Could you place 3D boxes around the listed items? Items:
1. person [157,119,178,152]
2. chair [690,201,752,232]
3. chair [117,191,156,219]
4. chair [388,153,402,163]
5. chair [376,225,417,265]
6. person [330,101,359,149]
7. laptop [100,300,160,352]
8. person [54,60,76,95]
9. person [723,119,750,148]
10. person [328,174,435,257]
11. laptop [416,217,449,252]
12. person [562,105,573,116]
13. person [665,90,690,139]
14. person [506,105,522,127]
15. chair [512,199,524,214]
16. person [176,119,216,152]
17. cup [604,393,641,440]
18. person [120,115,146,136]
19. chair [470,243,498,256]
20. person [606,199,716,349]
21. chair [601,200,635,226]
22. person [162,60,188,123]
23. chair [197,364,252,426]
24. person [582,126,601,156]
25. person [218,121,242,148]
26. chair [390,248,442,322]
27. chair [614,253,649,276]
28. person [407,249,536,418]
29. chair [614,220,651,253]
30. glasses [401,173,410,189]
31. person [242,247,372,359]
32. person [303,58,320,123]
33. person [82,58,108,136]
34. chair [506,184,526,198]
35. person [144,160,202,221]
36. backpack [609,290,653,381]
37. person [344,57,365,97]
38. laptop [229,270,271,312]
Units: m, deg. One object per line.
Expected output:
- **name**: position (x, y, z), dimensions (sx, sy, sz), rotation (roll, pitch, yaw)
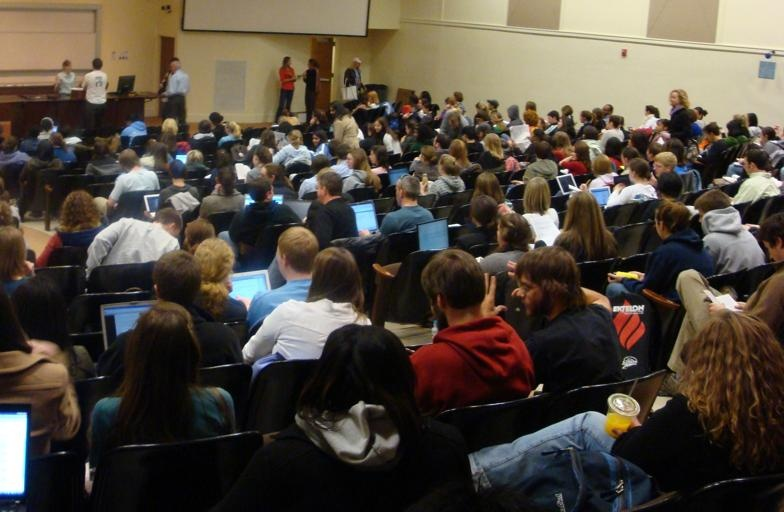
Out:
- **person**: position (-3.490, -1.922, 9.305), dimensions (0.276, 0.277, 0.765), rotation (2, -29, -25)
- **chair**: position (2.797, -0.327, 5.108), dimensions (0.340, 0.368, 0.306), rotation (-15, 0, 30)
- **chair**: position (-3.041, -0.627, 7.127), dimensions (0.328, 0.237, 0.253), rotation (-13, 38, -20)
- **chair**: position (0.056, -1.741, 10.699), dimensions (0.193, 0.249, 0.224), rotation (-1, -6, -17)
- **chair**: position (0.005, -0.127, 5.786), dimensions (0.308, 0.453, 0.352), rotation (-8, 34, -16)
- **person**: position (-0.930, -2.696, 12.270), dimensions (0.566, 0.915, 0.917), rotation (3, 8, -5)
- **laptop**: position (-1.479, 0.459, 3.455), dimensions (0.350, 0.332, 0.302), rotation (2, 19, -29)
- **person**: position (-7.456, -4.053, 13.658), dimensions (0.375, 0.797, 0.380), rotation (-1, 9, -32)
- **person**: position (5.879, -2.110, 10.196), dimensions (0.345, 0.512, 0.921), rotation (8, 9, 29)
- **person**: position (-0.082, -0.384, 5.868), dimensions (0.783, 0.593, 0.773), rotation (-16, 22, -36)
- **laptop**: position (0.371, -0.192, 5.597), dimensions (0.301, 0.239, 0.031), rotation (-13, 16, -42)
- **person**: position (3.739, -3.106, 12.797), dimensions (0.190, 0.288, 0.869), rotation (5, 8, 13)
- **person**: position (5.130, -2.505, 10.639), dimensions (0.388, 0.937, 0.508), rotation (6, 8, 18)
- **person**: position (2.640, -3.029, 12.897), dimensions (0.316, 0.595, 1.554), rotation (5, 8, 11)
- **chair**: position (1.432, -0.566, 6.920), dimensions (0.128, 0.157, 0.175), rotation (8, -18, 7)
- **person**: position (-3.435, -2.130, 10.578), dimensions (0.590, 0.636, 1.579), rotation (2, 8, -14)
- **cup**: position (0.982, 0.688, 2.571), dimensions (0.141, 0.156, 0.126), rotation (-11, 29, -18)
- **person**: position (-5.089, -2.571, 11.869), dimensions (0.489, 0.480, 1.540), rotation (1, 9, -23)
- **chair**: position (0.792, -0.055, 5.210), dimensions (0.153, 0.162, 0.136), rotation (-5, 8, -32)
- **person**: position (2.085, 0.263, 4.666), dimensions (0.588, 1.324, 0.855), rotation (-2, 0, -28)
- **chair**: position (2.472, -0.481, 6.533), dimensions (0.259, 0.310, 0.228), rotation (10, 18, 24)
- **person**: position (-5.379, -4.125, 14.841), dimensions (0.560, 1.576, 0.825), rotation (0, 8, -22)
- **chair**: position (-0.861, 0.655, 2.981), dimensions (0.199, 0.366, 0.259), rotation (-1, 31, -15)
- **person**: position (3.396, -1.988, 10.115), dimensions (0.289, 0.304, 0.831), rotation (8, 0, 27)
- **person**: position (-2.950, -2.215, 10.896), dimensions (0.384, 0.468, 1.481), rotation (1, 9, -16)
- **chair**: position (0.126, 0.204, 5.504), dimensions (0.523, 0.736, 0.539), rotation (-1, 22, -8)
- **chair**: position (1.952, 0.058, 4.892), dimensions (0.193, 0.259, 0.186), rotation (8, 13, 31)
- **person**: position (0.396, 0.555, 2.954), dimensions (0.611, 1.185, 0.656), rotation (-2, 2, 17)
- **chair**: position (2.325, -0.176, 5.772), dimensions (0.259, 0.340, 0.264), rotation (-3, 15, 6)
- **glasses**: position (0.123, -0.737, 5.873), dimensions (0.080, 0.117, 0.111), rotation (4, -14, -1)
- **person**: position (-0.505, 0.267, 3.408), dimensions (0.434, 0.764, 0.400), rotation (4, 26, -25)
- **person**: position (-2.276, -4.691, 16.836), dimensions (0.436, 1.830, 0.805), rotation (2, 8, -8)
- **person**: position (-6.746, -3.621, 13.625), dimensions (0.523, 1.695, 0.741), rotation (-1, 8, -28)
- **chair**: position (1.551, -0.805, 7.494), dimensions (0.190, 0.244, 0.184), rotation (6, 5, 30)
- **person**: position (-2.494, -0.685, 7.023), dimensions (0.522, 0.870, 0.571), rotation (-5, 5, -28)
- **backpack**: position (1.636, 0.518, 4.180), dimensions (0.357, 0.644, 0.180), rotation (1, -1, -9)
- **person**: position (-1.100, -5.091, 17.154), dimensions (0.483, 1.305, 1.307), rotation (3, 8, -4)
- **laptop**: position (-1.018, 0.242, 4.289), dimensions (0.296, 0.260, 0.298), rotation (-9, -8, -8)
